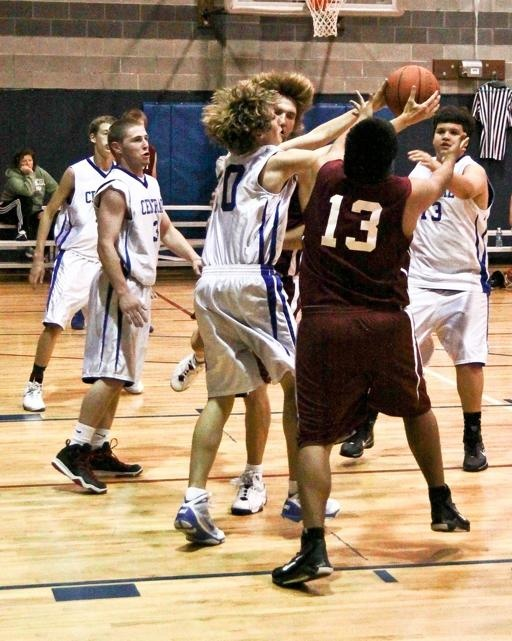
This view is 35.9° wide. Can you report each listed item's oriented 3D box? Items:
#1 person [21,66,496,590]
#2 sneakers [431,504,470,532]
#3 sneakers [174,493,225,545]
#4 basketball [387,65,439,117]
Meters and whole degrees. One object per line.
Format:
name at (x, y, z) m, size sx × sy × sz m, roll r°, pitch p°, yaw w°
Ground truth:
person at (-0.131, -0.077, 2.771) m, size 1.613 × 1.567 × 0.825 m, roll 7°, pitch 9°, yaw 43°
sneakers at (0.588, 0.611, 2.453) m, size 0.143 × 0.080 × 0.063 m, roll 4°, pitch -5°, yaw -32°
sneakers at (-0.173, 0.628, 2.481) m, size 0.119 × 0.207 × 0.214 m, roll 2°, pitch 6°, yaw 7°
basketball at (0.598, -0.861, 2.989) m, size 0.215 × 0.194 × 0.200 m, roll 5°, pitch 1°, yaw 6°
